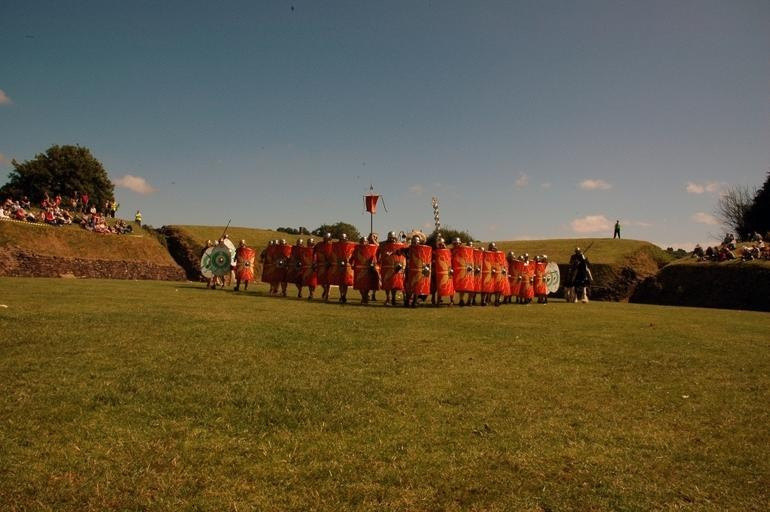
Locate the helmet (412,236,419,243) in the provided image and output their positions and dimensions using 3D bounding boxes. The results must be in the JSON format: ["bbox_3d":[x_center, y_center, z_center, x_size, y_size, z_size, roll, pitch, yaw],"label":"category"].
[{"bbox_3d":[1.402,-0.707,30.159,0.425,0.353,0.216,0,0,-18],"label":"helmet"}]

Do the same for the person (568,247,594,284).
[{"bbox_3d":[11.007,0.636,37.463,0.958,2.064,1.271,0,0,-1],"label":"person"}]
